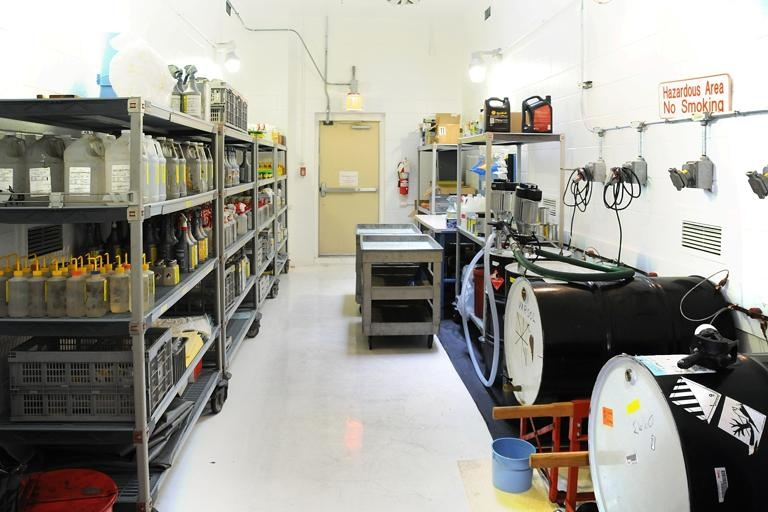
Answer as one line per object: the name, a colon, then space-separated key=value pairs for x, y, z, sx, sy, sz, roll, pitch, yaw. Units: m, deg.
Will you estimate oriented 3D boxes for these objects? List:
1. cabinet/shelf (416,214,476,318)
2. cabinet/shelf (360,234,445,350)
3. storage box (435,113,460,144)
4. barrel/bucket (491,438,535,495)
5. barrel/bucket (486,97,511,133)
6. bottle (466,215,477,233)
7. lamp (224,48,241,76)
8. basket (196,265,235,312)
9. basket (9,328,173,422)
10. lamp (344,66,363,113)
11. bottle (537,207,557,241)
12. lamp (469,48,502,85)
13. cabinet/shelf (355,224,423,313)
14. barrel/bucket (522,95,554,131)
cabinet/shelf: x=0.623 y=0.119 z=5.417 sx=0.361 sy=0.528 sz=1.050 roll=1 pitch=8 yaw=1
cabinet/shelf: x=0.138 y=0.286 z=5.328 sx=0.734 sy=0.945 sz=1.059 roll=-2 pitch=14 yaw=-5
storage box: x=0.870 y=-1.729 z=7.348 sx=0.318 sy=0.362 sz=0.587 roll=1 pitch=14 yaw=5
barrel/bucket: x=0.753 y=1.206 z=3.194 sx=0.248 sy=0.246 sz=0.219 roll=5 pitch=15 yaw=20
barrel/bucket: x=0.975 y=-1.214 z=4.662 sx=0.213 sy=0.287 sz=0.356 roll=0 pitch=14 yaw=4
bottle: x=0.864 y=-0.324 z=5.365 sx=0.082 sy=0.153 sz=0.156 roll=1 pitch=10 yaw=-2
lamp: x=-1.896 y=-2.448 z=6.764 sx=0.168 sy=0.246 sz=0.215 roll=-6 pitch=15 yaw=-22
basket: x=-1.285 y=0.241 z=4.100 sx=0.381 sy=0.199 sz=0.528 roll=-1 pitch=2 yaw=-10
basket: x=-1.559 y=0.558 z=2.942 sx=0.542 sy=0.288 sz=0.556 roll=1 pitch=4 yaw=-3
lamp: x=-0.452 y=-2.508 z=8.106 sx=0.268 sy=0.675 sz=0.598 roll=-1 pitch=14 yaw=-4
bottle: x=1.459 y=-0.342 z=4.802 sx=0.157 sy=0.297 sz=0.832 roll=4 pitch=15 yaw=17
lamp: x=1.220 y=-2.384 z=6.788 sx=0.523 sy=0.493 sz=0.355 roll=0 pitch=6 yaw=-4
cabinet/shelf: x=0.017 y=0.235 z=6.184 sx=0.788 sy=1.078 sz=1.116 roll=0 pitch=7 yaw=1
barrel/bucket: x=1.289 y=-1.202 z=4.596 sx=0.246 sy=0.300 sz=0.186 roll=1 pitch=14 yaw=5
